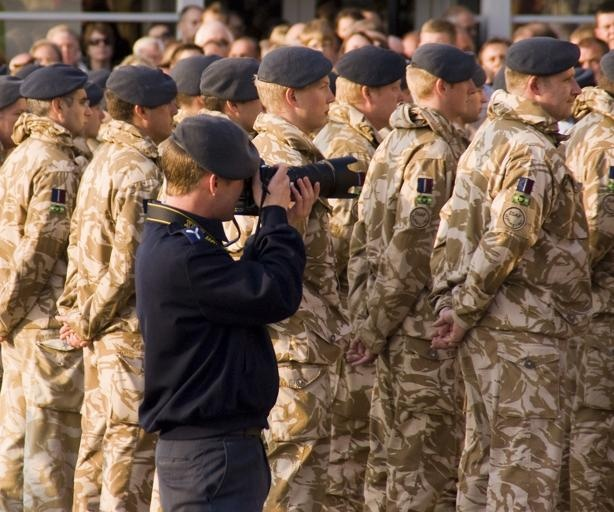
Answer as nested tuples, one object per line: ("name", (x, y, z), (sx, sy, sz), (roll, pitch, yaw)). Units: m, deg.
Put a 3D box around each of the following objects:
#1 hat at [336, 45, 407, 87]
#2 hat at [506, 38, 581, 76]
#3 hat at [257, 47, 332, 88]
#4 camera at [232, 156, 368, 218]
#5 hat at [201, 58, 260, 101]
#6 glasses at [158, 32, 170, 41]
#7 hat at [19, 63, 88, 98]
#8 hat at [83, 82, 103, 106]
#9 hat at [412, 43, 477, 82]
("hat", (0.412, -1.181, 9.212), (0.315, 0.119, 0.293), (2, 51, -2))
("hat", (1.330, -1.123, 8.317), (0.272, 0.081, 0.271), (0, 41, 4))
("hat", (-0.081, -1.139, 8.622), (0.462, 0.195, 0.558), (0, 24, 9))
("camera", (-0.069, -0.369, 7.609), (0.818, 0.304, 0.270), (-5, 3, 4))
("hat", (-0.462, -1.051, 8.893), (0.317, 0.172, 0.231), (1, 35, -2))
("glasses", (-1.374, -2.093, 14.174), (0.096, 0.092, 0.209), (-1, 4, -3))
("hat", (-1.620, -1.073, 9.326), (0.508, 0.173, 0.434), (-7, 10, -20))
("hat", (-1.413, -1.061, 9.714), (0.072, 0.153, 0.108), (-4, -1, 25))
("hat", (0.823, -1.162, 8.969), (0.506, 0.234, 0.369), (-1, 10, -21))
